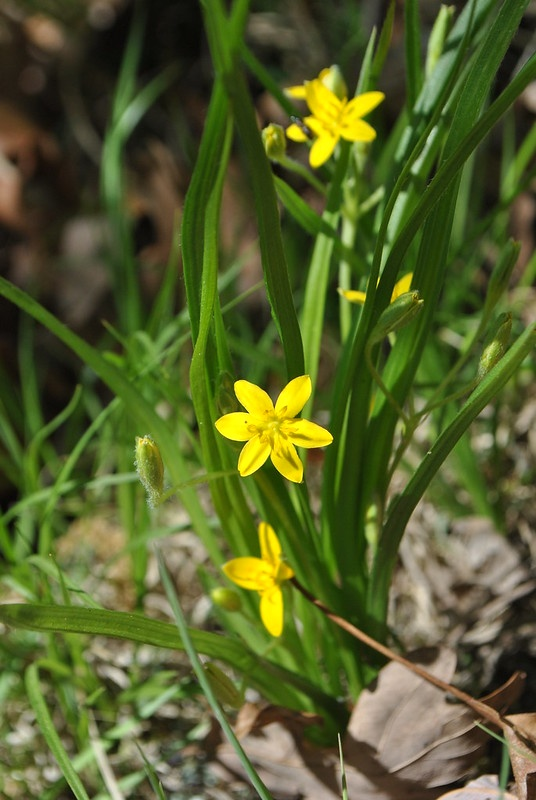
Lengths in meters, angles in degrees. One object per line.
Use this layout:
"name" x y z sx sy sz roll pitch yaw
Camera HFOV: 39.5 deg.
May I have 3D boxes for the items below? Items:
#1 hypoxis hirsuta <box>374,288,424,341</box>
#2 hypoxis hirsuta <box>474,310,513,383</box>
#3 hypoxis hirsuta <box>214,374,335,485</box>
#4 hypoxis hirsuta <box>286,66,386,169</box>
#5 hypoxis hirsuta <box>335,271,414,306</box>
"hypoxis hirsuta" 0.091 -0.060 0.546 0.019 0.054 0.016 17 52 -18
"hypoxis hirsuta" 0.172 -0.039 0.601 0.019 0.061 0.023 25 27 11
"hypoxis hirsuta" 0.002 0.017 0.546 0.098 0.029 0.096 -5 30 -19
"hypoxis hirsuta" 0.058 -0.219 0.566 0.075 0.034 0.068 -33 77 -7
"hypoxis hirsuta" 0.098 -0.110 0.684 0.060 0.025 0.049 -29 21 -35
